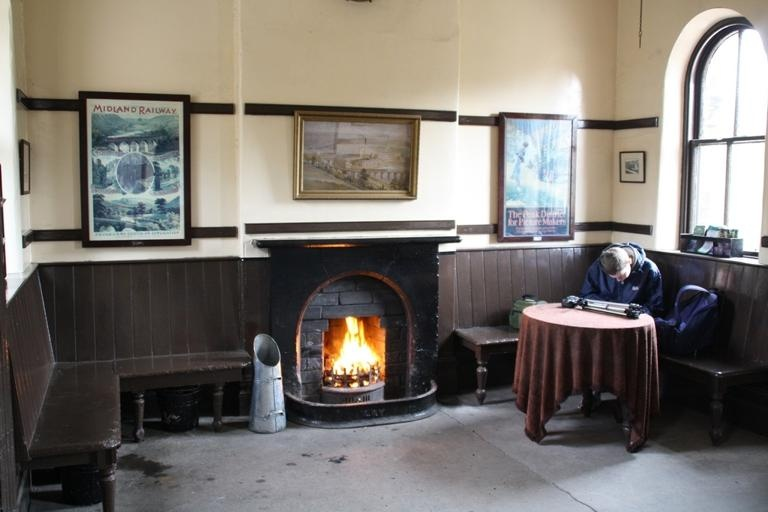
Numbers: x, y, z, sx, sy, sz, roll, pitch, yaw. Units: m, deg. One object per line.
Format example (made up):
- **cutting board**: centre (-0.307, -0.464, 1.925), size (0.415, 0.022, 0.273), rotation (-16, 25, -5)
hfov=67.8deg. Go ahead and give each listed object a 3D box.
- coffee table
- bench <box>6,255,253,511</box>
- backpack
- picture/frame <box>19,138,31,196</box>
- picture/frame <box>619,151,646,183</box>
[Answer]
- **coffee table**: centre (2.207, 1.300, 6.185), size (1.420, 1.246, 1.397), rotation (-1, 0, 31)
- **bench**: centre (-2.427, 1.247, 5.540), size (2.125, 1.593, 2.116), rotation (-2, 3, -22)
- **backpack**: centre (3.385, 0.720, 6.369), size (0.921, 0.709, 0.395), rotation (-7, 15, -29)
- **picture/frame**: centre (-3.629, -0.886, 5.734), size (0.044, 0.472, 0.404), rotation (-5, -4, -36)
- **picture/frame**: centre (3.222, -1.159, 7.375), size (0.032, 0.439, 0.373), rotation (-3, 14, -32)
